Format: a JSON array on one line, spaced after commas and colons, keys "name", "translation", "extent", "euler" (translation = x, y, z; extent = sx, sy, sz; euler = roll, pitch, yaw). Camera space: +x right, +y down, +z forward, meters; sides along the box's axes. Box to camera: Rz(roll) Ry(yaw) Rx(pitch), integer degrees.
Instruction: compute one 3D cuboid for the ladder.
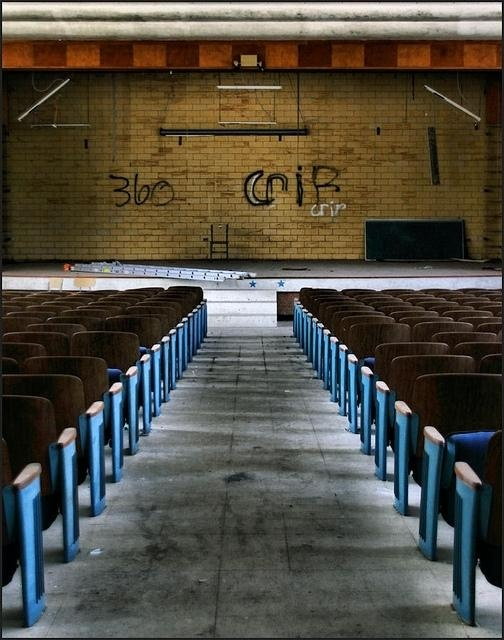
[{"name": "ladder", "translation": [-1.624, -0.820, 11.115], "extent": [3.425, 0.317, 0.609], "euler": [2, 6, 17]}]
